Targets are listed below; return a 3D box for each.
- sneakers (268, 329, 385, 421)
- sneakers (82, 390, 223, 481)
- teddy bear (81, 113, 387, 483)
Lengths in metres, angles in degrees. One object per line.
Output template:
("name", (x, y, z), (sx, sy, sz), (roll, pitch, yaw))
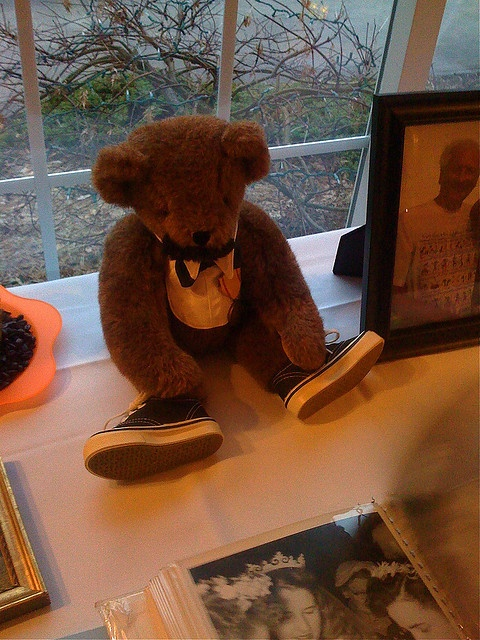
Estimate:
("sneakers", (0.174, 0.100, 1.068), (0.291, 0.103, 0.130), (-26, 46, -27))
("sneakers", (-0.128, 0.212, 0.947), (0.263, 0.096, 0.140), (-15, 36, -26))
("teddy bear", (-0.068, -0.070, 0.960), (0.591, 0.521, 0.393), (-18, 37, -24))
